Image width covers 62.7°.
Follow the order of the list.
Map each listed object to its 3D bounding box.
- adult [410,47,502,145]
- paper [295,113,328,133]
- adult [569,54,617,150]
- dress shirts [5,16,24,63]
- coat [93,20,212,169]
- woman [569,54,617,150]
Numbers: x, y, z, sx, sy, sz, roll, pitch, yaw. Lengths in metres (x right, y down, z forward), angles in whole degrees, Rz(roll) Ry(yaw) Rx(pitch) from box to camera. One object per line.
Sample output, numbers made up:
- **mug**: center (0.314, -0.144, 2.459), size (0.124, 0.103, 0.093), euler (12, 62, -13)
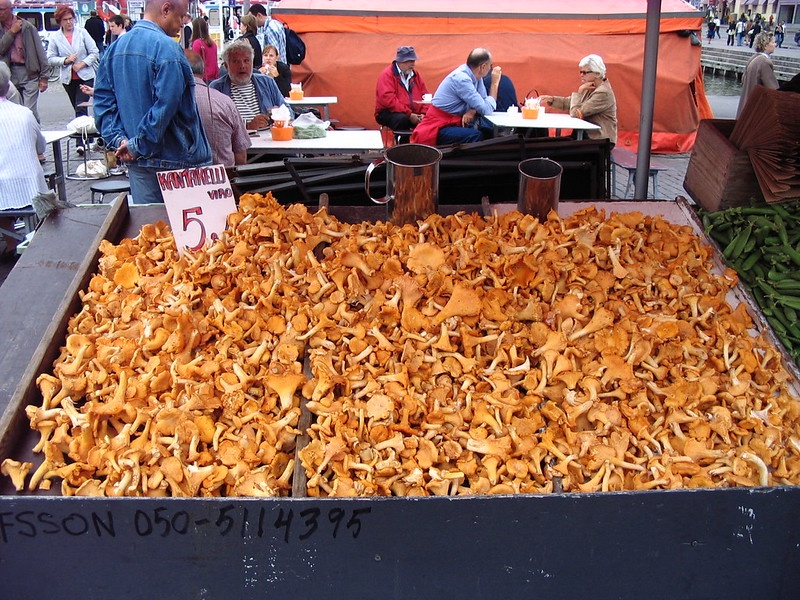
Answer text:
- **adult**: center (0.689, -2.518, 8.128), size (0.957, 1.087, 0.678), euler (0, 25, 1)
- **paper**: center (-0.913, -1.768, 6.557), size (0.241, 0.120, 0.314), euler (-1, 14, -10)
- **adult**: center (2.325, -2.380, 7.866), size (0.593, 1.053, 0.890), euler (7, 26, 16)
- **dress shirts**: center (-4.979, -3.376, 8.499), size (0.247, 0.546, 0.148), euler (-19, 30, -34)
- **coat**: center (-1.745, -1.353, 4.402), size (0.674, 0.953, 0.495), euler (5, 25, 11)
- **woman**: center (2.331, -2.384, 7.862), size (0.590, 1.043, 0.818), euler (6, 26, 14)
